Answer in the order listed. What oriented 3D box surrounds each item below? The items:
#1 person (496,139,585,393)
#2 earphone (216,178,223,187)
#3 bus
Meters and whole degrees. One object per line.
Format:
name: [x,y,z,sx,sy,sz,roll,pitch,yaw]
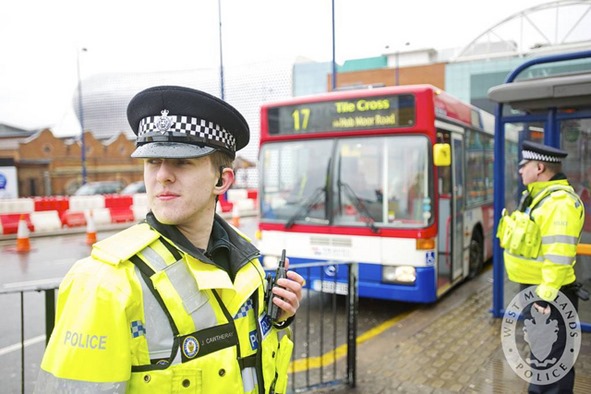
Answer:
person: [3.087,0.889,6.990,0.880,3.064,1.169,0,7,9]
earphone: [-0.651,-0.115,4.738,0.014,0.062,0.060,1,22,38]
bus: [2.322,-0.518,11.503,2.322,2.627,5.915,3,8,30]
